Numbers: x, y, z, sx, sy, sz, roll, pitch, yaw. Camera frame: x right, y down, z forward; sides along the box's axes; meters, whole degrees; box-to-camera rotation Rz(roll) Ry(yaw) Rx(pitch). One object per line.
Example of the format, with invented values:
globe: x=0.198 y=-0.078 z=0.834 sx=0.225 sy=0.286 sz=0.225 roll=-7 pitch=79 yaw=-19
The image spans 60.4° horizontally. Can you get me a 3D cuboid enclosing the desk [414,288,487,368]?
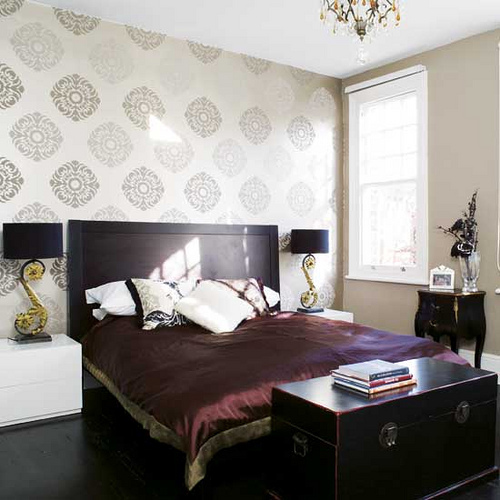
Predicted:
desk: x=1.761 y=0.687 z=3.817 sx=0.351 sy=0.717 sz=0.498 roll=-4 pitch=4 yaw=-18

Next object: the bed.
bed: x=-0.122 y=0.437 z=3.050 sx=1.979 sy=1.535 sz=2.600 roll=1 pitch=-2 yaw=-37

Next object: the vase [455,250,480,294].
vase: x=1.936 y=0.192 z=3.762 sx=0.187 sy=0.350 sz=0.172 roll=-2 pitch=-7 yaw=45

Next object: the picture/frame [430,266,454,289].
picture/frame: x=1.746 y=0.255 z=3.915 sx=0.023 sy=0.246 sz=0.175 roll=6 pitch=-5 yaw=-39

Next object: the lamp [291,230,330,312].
lamp: x=0.612 y=0.212 z=4.439 sx=0.351 sy=0.897 sz=0.390 roll=-1 pitch=5 yaw=-2

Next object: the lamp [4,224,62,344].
lamp: x=-1.510 y=0.220 z=3.054 sx=0.394 sy=0.913 sz=0.497 roll=-8 pitch=3 yaw=-28
